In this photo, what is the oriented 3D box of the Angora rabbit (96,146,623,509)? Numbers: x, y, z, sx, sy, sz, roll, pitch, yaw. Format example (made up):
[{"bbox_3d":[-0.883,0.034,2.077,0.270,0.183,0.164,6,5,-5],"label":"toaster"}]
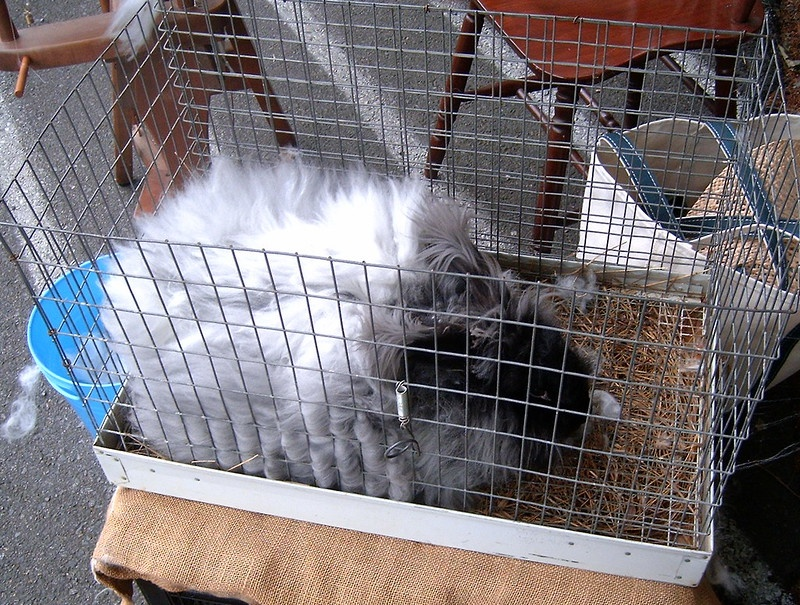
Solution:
[{"bbox_3d":[-0.094,0.103,1.392,0.838,0.314,0.558,11,56,4],"label":"Angora rabbit"}]
